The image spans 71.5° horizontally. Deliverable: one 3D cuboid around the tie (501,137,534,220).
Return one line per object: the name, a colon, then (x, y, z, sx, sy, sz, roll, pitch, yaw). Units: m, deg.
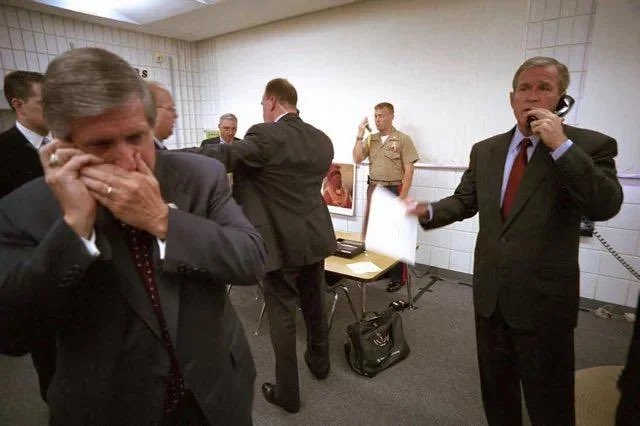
tie: (1.204, -0.212, 2.717, 0.104, 0.681, 0.107, 6, -25, 30)

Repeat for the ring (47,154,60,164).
ring: (-1.157, -0.236, 1.937, 0.038, 0.042, 0.018, 8, 5, -16)

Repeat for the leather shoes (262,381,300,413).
leather shoes: (-0.295, 1.381, 3.374, 0.128, 0.147, 0.337, -16, 28, -43)

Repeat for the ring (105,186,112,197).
ring: (-0.928, -0.095, 1.952, 0.029, 0.046, 0.024, 8, 26, 13)

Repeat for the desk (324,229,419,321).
desk: (0.419, 0.418, 4.058, 0.774, 0.534, 0.817, 17, 30, 36)

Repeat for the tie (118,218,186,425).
tie: (-0.758, 0.509, 2.180, 0.232, 0.977, 0.157, -6, 6, 16)

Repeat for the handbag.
handbag: (0.492, 1.090, 3.782, 0.576, 0.455, 0.303, -13, 5, -31)

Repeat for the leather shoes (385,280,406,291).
leather shoes: (0.803, 0.796, 4.886, 0.078, 0.088, 0.203, 3, 6, 41)
